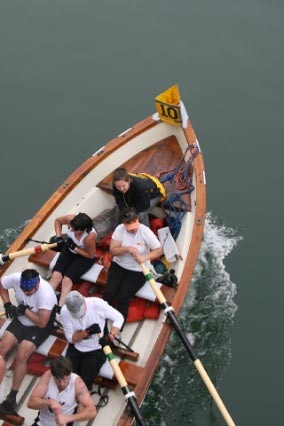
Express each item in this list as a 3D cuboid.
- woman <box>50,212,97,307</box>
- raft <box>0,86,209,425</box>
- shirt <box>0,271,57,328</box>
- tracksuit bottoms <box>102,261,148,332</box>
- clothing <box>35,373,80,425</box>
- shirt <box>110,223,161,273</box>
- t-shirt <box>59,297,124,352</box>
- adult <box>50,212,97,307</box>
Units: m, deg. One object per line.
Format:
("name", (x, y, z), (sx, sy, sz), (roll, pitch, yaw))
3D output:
("woman", (-0.631, 0.451, 3.935), (0.333, 0.705, 0.415), (28, -27, -5))
("raft", (0.036, 0.164, 4.987), (1.528, 4.046, 1.131), (24, -28, 16))
("shirt", (-0.947, 0.729, 3.575), (0.454, 0.241, 0.413), (41, -23, 3))
("tracksuit bottoms", (-0.162, 0.753, 3.896), (0.323, 0.521, 0.145), (18, -3, 32))
("clothing", (-0.602, 1.346, 3.133), (0.173, 0.546, 0.201), (11, -2, 4))
("shirt", (-0.051, 0.293, 3.944), (0.475, 0.393, 0.247), (6, 18, 20))
("t-shirt", (-0.406, 0.890, 3.416), (0.497, 0.421, 0.357), (7, 27, 9))
("adult", (-0.631, 0.451, 3.935), (0.333, 0.705, 0.415), (28, -27, -5))
